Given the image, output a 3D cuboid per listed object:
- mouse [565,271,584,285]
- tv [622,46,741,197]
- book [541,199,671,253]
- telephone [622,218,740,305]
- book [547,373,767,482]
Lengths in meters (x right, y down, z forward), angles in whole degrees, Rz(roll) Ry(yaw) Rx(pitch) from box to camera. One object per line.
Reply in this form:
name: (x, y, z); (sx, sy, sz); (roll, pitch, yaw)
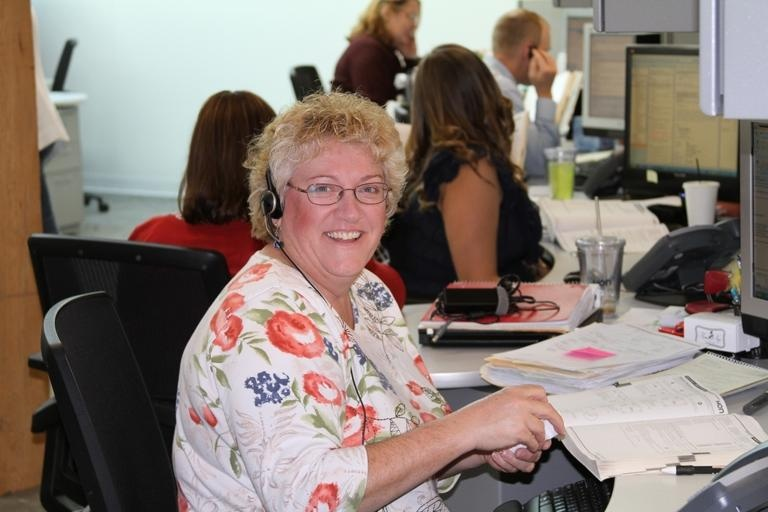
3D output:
mouse: (0.631, 0.076, 2.325); (0.046, 0.034, 0.057); (0, 1, 4)
tv: (1.161, -0.536, 2.739); (0.081, 0.622, 0.517); (-9, 12, -26)
book: (0.861, -0.124, 2.722); (0.287, 0.091, 0.277); (-1, 18, -8)
telephone: (0.910, -0.047, 2.154); (0.257, 0.117, 0.312); (-27, -19, 25)
book: (0.574, 0.372, 1.479); (0.250, 0.043, 0.288); (-7, 12, -7)
